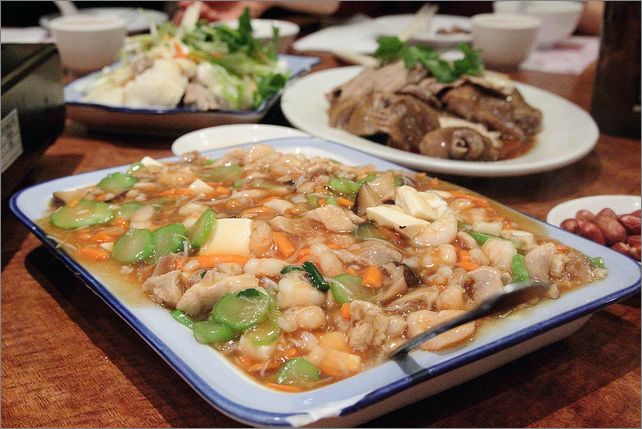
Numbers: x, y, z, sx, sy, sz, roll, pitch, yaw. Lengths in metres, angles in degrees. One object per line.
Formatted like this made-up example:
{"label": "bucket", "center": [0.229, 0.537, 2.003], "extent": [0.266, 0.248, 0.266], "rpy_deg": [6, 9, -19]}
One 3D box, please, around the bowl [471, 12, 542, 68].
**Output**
{"label": "bowl", "center": [1.817, -1.750, 4.602], "extent": [0.640, 0.423, 0.589], "rpy_deg": [0, 48, 0]}
